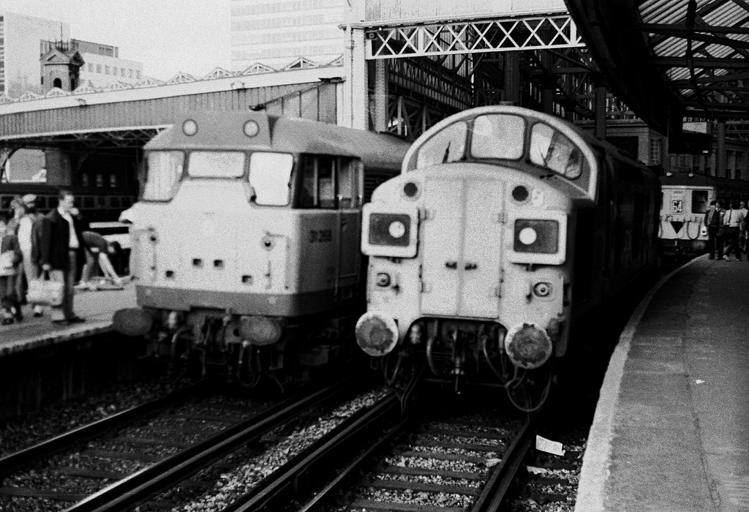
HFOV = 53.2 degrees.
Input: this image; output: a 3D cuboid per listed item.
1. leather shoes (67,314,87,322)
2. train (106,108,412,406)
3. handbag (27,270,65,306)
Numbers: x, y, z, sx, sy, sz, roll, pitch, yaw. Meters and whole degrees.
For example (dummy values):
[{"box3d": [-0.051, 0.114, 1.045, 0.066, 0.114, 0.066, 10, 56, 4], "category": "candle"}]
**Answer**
[{"box3d": [-5.504, 1.148, 13.859, 0.304, 0.161, 0.114, -1, 2, -3], "category": "leather shoes"}, {"box3d": [-1.517, -0.425, 15.459, 3.234, 4.498, 8.213, 3, 6, 15], "category": "train"}, {"box3d": [-5.905, 0.577, 13.501, 0.523, 0.717, 0.193, 1, -8, 13], "category": "handbag"}]
